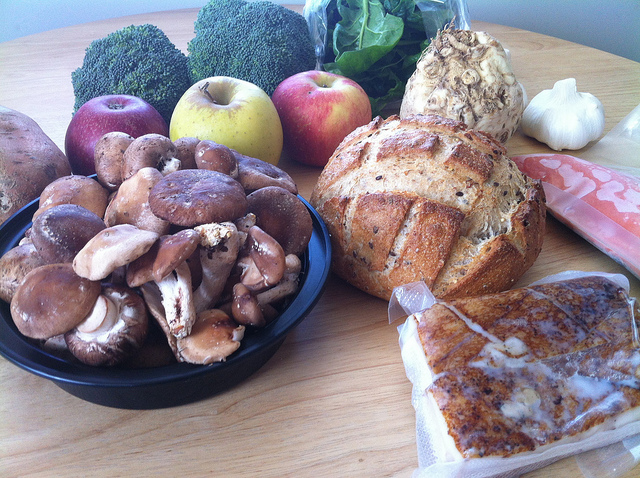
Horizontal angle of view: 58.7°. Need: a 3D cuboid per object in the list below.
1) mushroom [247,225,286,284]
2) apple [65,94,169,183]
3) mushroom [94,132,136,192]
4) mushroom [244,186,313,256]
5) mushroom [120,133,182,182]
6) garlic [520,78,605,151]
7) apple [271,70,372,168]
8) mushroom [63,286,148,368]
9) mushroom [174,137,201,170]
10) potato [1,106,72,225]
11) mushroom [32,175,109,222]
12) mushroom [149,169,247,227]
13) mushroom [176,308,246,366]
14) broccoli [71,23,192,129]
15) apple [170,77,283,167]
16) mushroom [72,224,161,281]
[{"bbox_3d":[-0.075,0.022,0.824,0.040,0.068,0.072,-6,19,-27],"label":"mushroom"},{"bbox_3d":[-0.413,-0.202,1.206,0.200,0.193,0.198,-10,9,-22],"label":"apple"},{"bbox_3d":[-0.345,-0.138,0.984,0.049,0.100,0.060,14,21,21],"label":"mushroom"},{"bbox_3d":[-0.058,-0.033,0.880,0.096,0.040,0.099,30,39,-12],"label":"mushroom"},{"bbox_3d":[-0.271,-0.135,0.936,0.081,0.081,0.037,-45,47,-5],"label":"mushroom"},{"bbox_3d":[0.578,-0.287,1.333,0.196,0.135,0.137,15,54,11],"label":"garlic"},{"bbox_3d":[-0.001,-0.260,1.302,0.213,0.171,0.234,18,39,16],"label":"apple"},{"bbox_3d":[-0.285,0.125,0.778,0.100,0.041,0.113,13,79,1],"label":"mushroom"},{"bbox_3d":[-0.222,-0.144,0.962,0.045,0.032,0.056,15,42,-7],"label":"mushroom"},{"bbox_3d":[-0.532,-0.141,1.088,0.114,0.221,0.142,6,13,12],"label":"potato"},{"bbox_3d":[-0.388,-0.072,0.920,0.108,0.077,0.083,20,31,16],"label":"mushroom"},{"bbox_3d":[-0.177,-0.072,0.834,0.088,0.080,0.137,8,17,35],"label":"mushroom"},{"bbox_3d":[-0.149,0.129,0.807,0.100,0.031,0.097,3,41,16],"label":"mushroom"},{"bbox_3d":[-0.471,-0.373,1.377,0.284,0.231,0.181,-24,34,-34],"label":"broccoli"},{"bbox_3d":[-0.202,-0.215,1.248,0.196,0.193,0.195,35,48,24],"label":"apple"},{"bbox_3d":[-0.276,0.017,0.795,0.130,0.052,0.057,-33,59,-22],"label":"mushroom"}]
